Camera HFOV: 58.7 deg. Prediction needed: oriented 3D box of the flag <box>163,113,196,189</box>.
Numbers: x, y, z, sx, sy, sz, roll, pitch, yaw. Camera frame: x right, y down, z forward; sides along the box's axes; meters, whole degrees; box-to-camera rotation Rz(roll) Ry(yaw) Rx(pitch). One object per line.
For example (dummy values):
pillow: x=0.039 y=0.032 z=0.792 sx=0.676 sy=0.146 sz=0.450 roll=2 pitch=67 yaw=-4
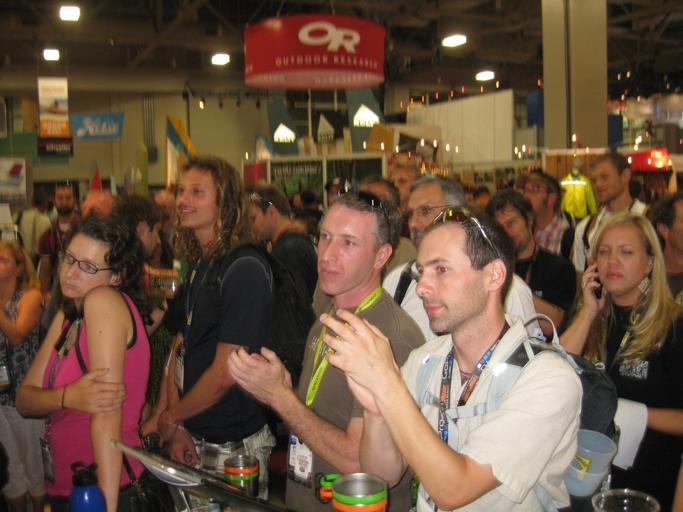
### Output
flag: x=-1.669 y=-1.096 z=6.261 sx=0.275 sy=0.037 sz=0.850 roll=-1 pitch=-44 yaw=-16

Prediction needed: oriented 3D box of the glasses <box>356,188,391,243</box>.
glasses: x=0.145 y=-0.186 z=2.794 sx=0.054 sy=0.209 sz=0.176 roll=-9 pitch=27 yaw=-35
